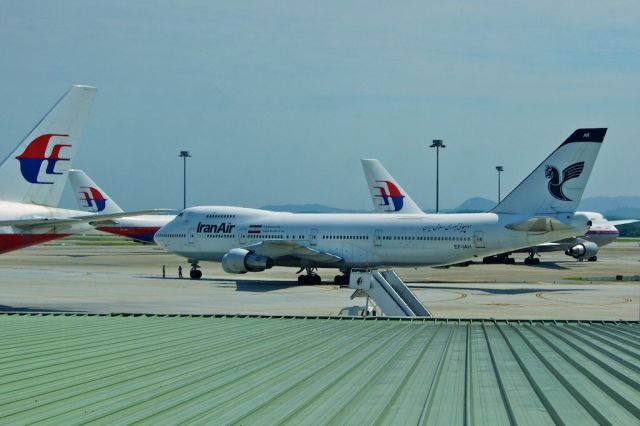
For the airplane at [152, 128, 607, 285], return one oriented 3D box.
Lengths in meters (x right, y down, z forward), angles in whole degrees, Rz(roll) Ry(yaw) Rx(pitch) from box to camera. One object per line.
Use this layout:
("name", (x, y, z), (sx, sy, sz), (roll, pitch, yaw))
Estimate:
("airplane", (4.741, 1.187, 45.220), (20.747, 4.009, 16.250), (0, 2, 31))
